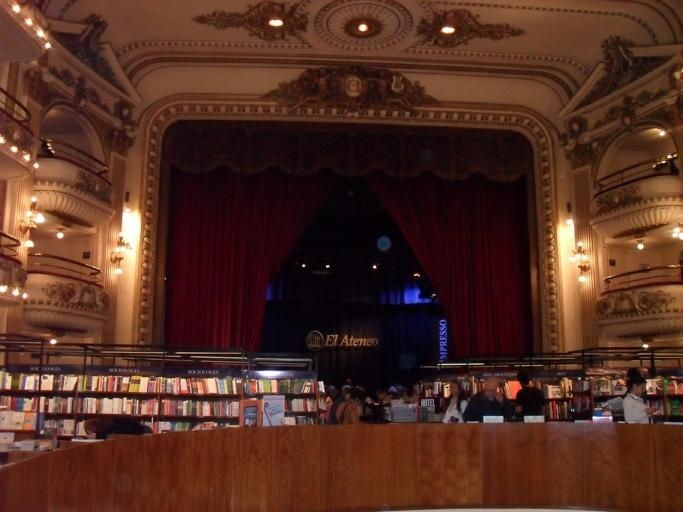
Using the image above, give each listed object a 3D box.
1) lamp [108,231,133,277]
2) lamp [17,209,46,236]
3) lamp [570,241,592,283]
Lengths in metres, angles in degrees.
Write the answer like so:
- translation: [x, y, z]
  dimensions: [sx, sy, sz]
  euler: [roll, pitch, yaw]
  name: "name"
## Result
- translation: [-4.609, -0.041, 12.813]
  dimensions: [0.287, 0.849, 0.562]
  euler: [4, -5, -3]
  name: "lamp"
- translation: [-5.316, -0.591, 10.471]
  dimensions: [0.343, 0.527, 0.396]
  euler: [-2, -9, 22]
  name: "lamp"
- translation: [5.199, 0.118, 13.402]
  dimensions: [0.306, 0.885, 0.531]
  euler: [4, -5, -10]
  name: "lamp"
